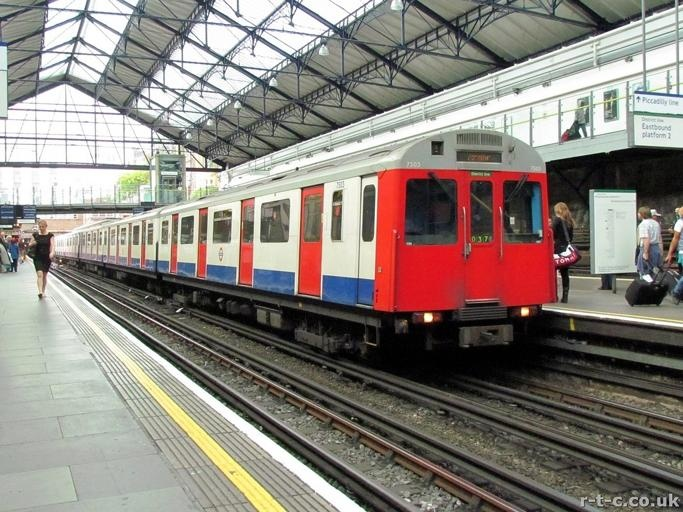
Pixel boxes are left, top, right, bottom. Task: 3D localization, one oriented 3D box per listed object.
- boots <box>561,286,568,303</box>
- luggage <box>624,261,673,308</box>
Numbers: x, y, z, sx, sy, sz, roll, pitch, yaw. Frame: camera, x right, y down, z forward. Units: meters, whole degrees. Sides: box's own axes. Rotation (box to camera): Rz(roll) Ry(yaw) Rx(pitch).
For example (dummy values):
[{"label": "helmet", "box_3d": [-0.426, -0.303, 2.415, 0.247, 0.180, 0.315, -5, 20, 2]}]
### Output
[{"label": "boots", "box_3d": [4.540, 0.804, 10.844, 0.106, 0.298, 0.089, 4, 0, 17]}, {"label": "luggage", "box_3d": [6.495, 0.586, 11.032, 0.635, 0.838, 2.711, 5, 1, 39]}]
